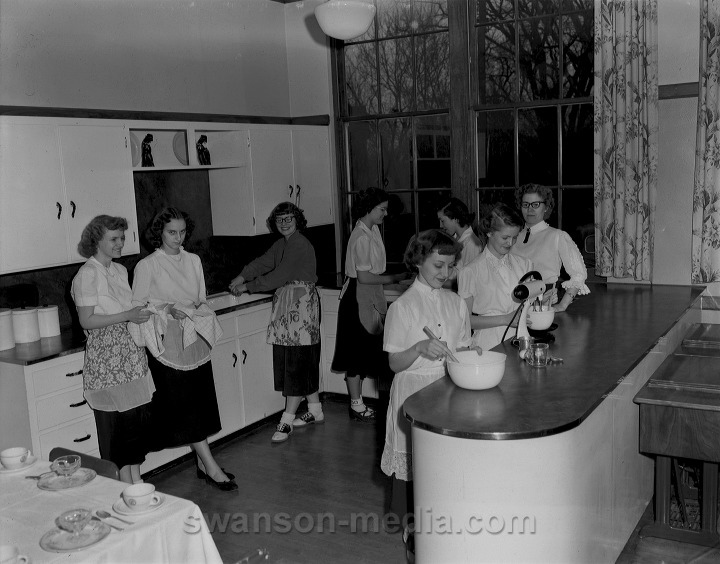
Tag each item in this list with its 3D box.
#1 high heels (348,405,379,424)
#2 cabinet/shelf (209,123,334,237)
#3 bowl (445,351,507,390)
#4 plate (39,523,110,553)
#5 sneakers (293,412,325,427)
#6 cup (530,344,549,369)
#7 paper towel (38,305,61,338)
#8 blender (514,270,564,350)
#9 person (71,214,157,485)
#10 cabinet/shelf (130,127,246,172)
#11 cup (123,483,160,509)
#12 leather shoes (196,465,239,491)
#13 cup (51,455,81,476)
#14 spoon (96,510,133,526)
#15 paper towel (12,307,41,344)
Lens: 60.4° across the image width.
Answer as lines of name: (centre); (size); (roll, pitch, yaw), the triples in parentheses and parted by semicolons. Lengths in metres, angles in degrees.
high heels: (0.026, 1.194, 5.594); (0.208, 0.096, 0.113); (-2, 12, 13)
cabinet/shelf: (-0.904, -1.000, 5.960); (0.389, 0.983, 1.076); (0, 8, 31)
bowl: (0.562, 0.422, 3.017); (0.269, 0.145, 0.299); (1, 11, 15)
plate: (-1.074, 0.961, 2.344); (0.248, 0.028, 0.191); (-7, 12, -21)
sneakers: (-0.462, 1.228, 5.562); (0.211, 0.103, 0.116); (4, -1, -12)
cup: (0.938, 0.383, 3.256); (0.106, 0.119, 0.073); (-1, -1, 28)
paper towel: (-2.208, 0.288, 4.417); (0.162, 0.213, 0.176); (-1, -1, -7)
blender: (1.022, 0.139, 3.638); (0.309, 0.388, 0.212); (-7, 9, -36)
person: (-1.590, 0.471, 4.055); (0.441, 1.800, 0.381); (-7, 10, -26)
cabinet/shelf: (-1.479, -1.151, 5.373); (0.363, 0.350, 1.172); (4, 13, 32)
cup: (-0.900, 0.877, 2.556); (0.111, 0.060, 0.101); (4, 2, 1)
leather shoes: (-1.050, 1.459, 4.603); (0.332, 0.153, 0.126); (4, 9, 33)
cup: (-1.308, 0.813, 2.785); (0.087, 0.047, 0.095); (0, 6, 0)
spoon: (-0.979, 0.944, 2.467); (0.171, 0.026, 0.060); (10, 15, 42)
paper towel: (-2.282, 0.297, 4.255); (0.187, 0.243, 0.203); (0, 2, -6)
